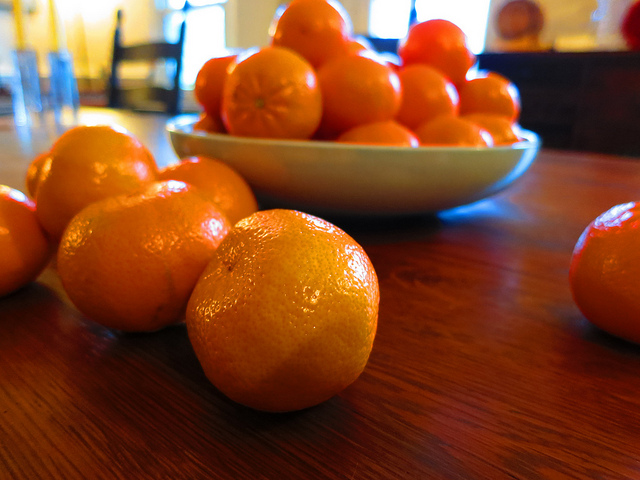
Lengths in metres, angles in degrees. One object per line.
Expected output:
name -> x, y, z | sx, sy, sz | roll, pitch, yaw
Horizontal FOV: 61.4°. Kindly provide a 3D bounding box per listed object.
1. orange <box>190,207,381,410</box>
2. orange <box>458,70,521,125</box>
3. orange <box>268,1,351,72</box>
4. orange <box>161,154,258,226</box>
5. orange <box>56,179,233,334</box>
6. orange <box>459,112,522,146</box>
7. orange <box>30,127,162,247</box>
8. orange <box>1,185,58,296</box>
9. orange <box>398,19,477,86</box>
orange -> -0.020, 0.047, 0.414 | 0.122, 0.125, 0.133 | -34, 72, -11
orange -> 0.240, -0.205, 0.785 | 0.088, 0.051, 0.091 | 10, 28, -7
orange -> -0.014, -0.270, 0.742 | 0.098, 0.096, 0.098 | 7, 44, 2
orange -> -0.112, -0.057, 0.561 | 0.082, 0.084, 0.084 | 0, 5, 3
orange -> -0.160, 0.022, 0.463 | 0.130, 0.115, 0.144 | 8, -15, -16
orange -> 0.227, -0.146, 0.696 | 0.061, 0.043, 0.076 | 3, 10, 3
orange -> -0.219, -0.040, 0.515 | 0.114, 0.112, 0.116 | 9, 10, 12
orange -> -0.268, 0.002, 0.479 | 0.037, 0.085, 0.063 | 2, 20, -5
orange -> 0.168, -0.285, 0.766 | 0.090, 0.098, 0.094 | -7, 40, 15
